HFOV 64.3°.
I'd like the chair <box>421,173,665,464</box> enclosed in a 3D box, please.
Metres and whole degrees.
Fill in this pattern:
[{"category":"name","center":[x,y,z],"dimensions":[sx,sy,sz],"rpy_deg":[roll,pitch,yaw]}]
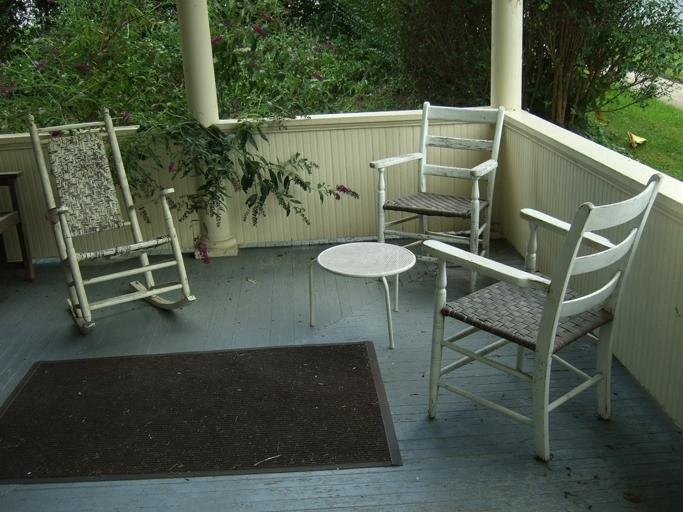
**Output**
[{"category":"chair","center":[0.768,0.205,2.256],"dimensions":[0.799,1.117,0.617],"rpy_deg":[20,35,33]}]

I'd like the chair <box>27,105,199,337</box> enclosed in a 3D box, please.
[{"category":"chair","center":[-1.547,-0.288,3.595],"dimensions":[0.760,1.278,1.316],"rpy_deg":[-13,31,-22]}]

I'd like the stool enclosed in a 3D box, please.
[{"category":"stool","center":[0.144,0.221,3.229],"dimensions":[0.722,0.421,0.581],"rpy_deg":[1,31,0]}]

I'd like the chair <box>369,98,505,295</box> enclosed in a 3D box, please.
[{"category":"chair","center":[0.708,-0.440,3.759],"dimensions":[0.796,0.991,0.760],"rpy_deg":[14,32,35]}]
